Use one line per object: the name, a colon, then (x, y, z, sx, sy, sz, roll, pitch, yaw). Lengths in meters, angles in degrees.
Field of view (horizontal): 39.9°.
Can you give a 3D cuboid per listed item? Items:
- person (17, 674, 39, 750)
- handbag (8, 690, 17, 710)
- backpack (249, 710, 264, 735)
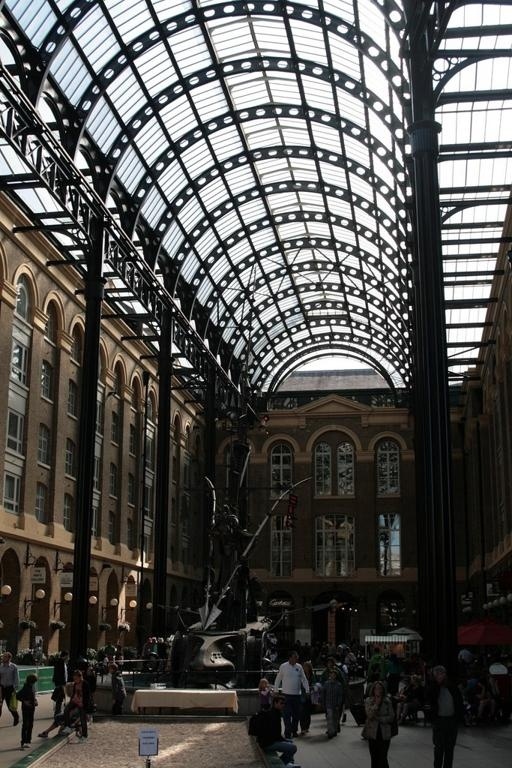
person: (-4.025, 5.639, 12.313, 0.313, 1.124, 3.124, 6, -21, -15)
handbag: (-4.710, 6.153, 13.575, 0.147, 0.377, 0.319, 7, -19, -18)
backpack: (-0.005, 3.899, 8.041, 0.148, 0.282, 0.405, 3, -19, -5)
